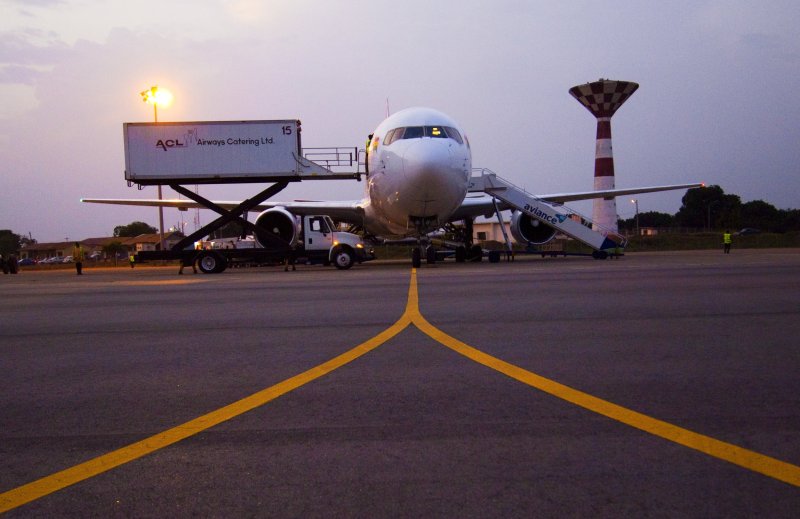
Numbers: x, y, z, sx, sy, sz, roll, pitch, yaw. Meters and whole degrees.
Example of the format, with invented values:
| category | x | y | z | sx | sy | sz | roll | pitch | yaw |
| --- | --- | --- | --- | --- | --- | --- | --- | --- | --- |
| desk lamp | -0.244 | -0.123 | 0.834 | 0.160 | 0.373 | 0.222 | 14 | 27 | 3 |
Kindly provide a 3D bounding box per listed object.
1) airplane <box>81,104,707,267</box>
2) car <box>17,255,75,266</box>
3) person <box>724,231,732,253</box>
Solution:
| category | x | y | z | sx | sy | sz | roll | pitch | yaw |
| --- | --- | --- | --- | --- | --- | --- | --- | --- | --- |
| airplane | -2.345 | -2.701 | 24.850 | 16.515 | 5.429 | 9.988 | 2 | 11 | 19 |
| car | -54.313 | 0.084 | 102.270 | 6.638 | 1.014 | 1.235 | -6 | 5 | 16 |
| person | 15.300 | -0.819 | 31.212 | 0.225 | 0.984 | 0.955 | 2 | 10 | 20 |
